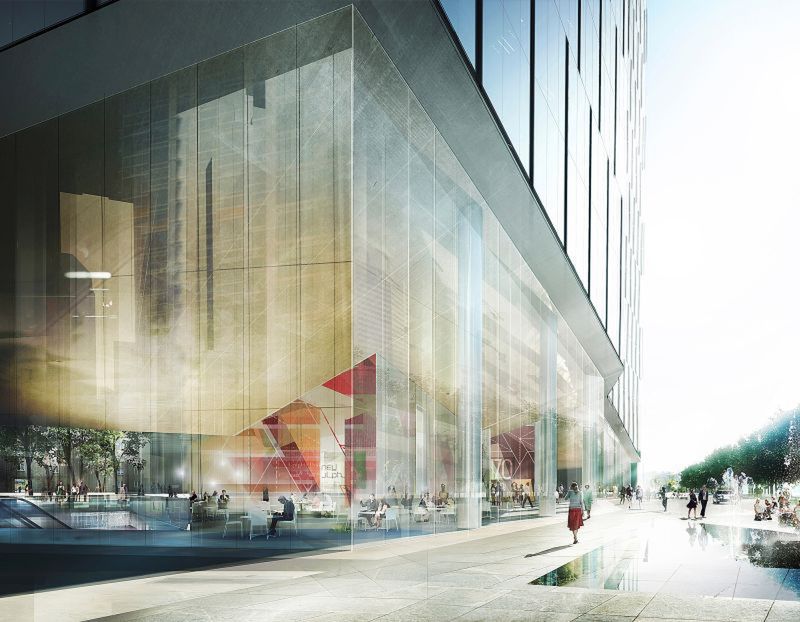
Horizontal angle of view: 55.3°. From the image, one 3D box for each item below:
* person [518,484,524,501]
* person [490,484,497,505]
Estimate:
[{"bbox_3d":[5.140,8.019,32.289,0.194,0.694,1.024,-4,-17,12],"label":"person"},{"bbox_3d":[3.555,7.162,28.817,0.176,0.745,1.075,-4,-16,11],"label":"person"}]
